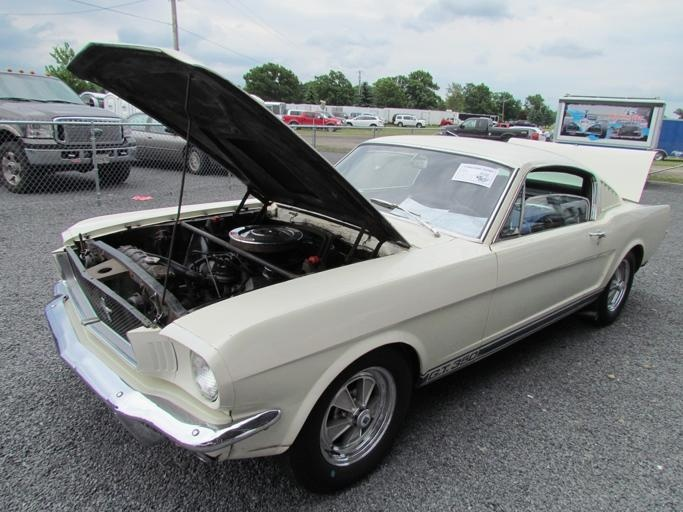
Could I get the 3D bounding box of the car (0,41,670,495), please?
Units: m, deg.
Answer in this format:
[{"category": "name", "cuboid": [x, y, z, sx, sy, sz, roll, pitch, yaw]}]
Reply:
[{"category": "car", "cuboid": [0.779, -0.132, 3.937, 5.520, 1.799, 2.223, -9, 19, -33]}]
